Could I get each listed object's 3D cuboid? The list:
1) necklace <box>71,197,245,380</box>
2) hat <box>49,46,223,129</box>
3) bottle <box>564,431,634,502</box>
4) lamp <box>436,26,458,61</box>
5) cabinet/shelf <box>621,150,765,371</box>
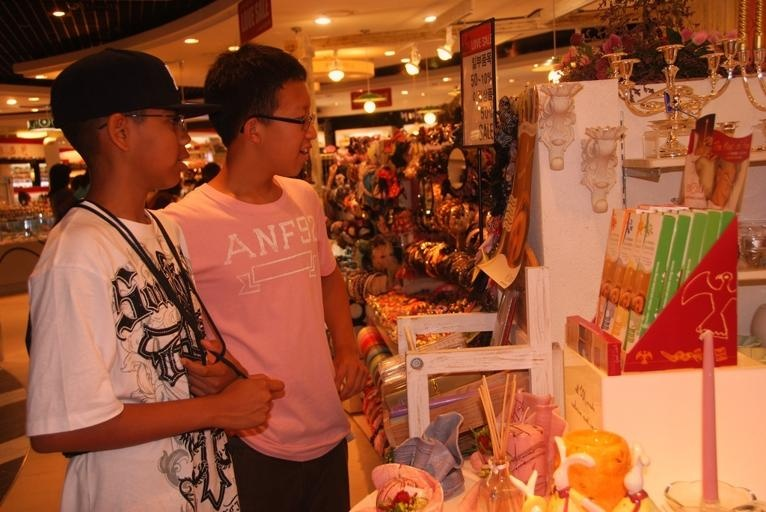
[{"bbox_3d":[-0.686,0.078,1.644,0.070,0.846,0.253,-33,-24,9],"label":"necklace"},{"bbox_3d":[-0.782,-0.503,1.684,0.492,0.242,0.340,-12,3,-25],"label":"hat"},{"bbox_3d":[0.557,0.542,1.427,0.156,0.168,0.158,0,1,-1],"label":"bottle"},{"bbox_3d":[0.960,-3.113,7.858,0.207,0.428,0.219,16,27,13],"label":"lamp"},{"bbox_3d":[1.482,-0.003,2.342,0.750,0.906,0.533,-6,9,1],"label":"cabinet/shelf"}]
